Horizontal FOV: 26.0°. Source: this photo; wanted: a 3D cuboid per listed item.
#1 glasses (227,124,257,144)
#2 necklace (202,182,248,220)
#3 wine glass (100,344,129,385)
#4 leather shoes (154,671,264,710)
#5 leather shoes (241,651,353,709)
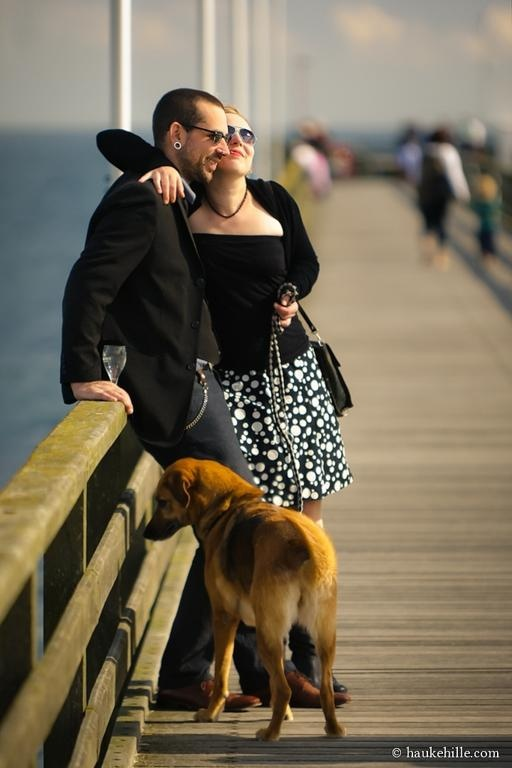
[{"bbox_3d":[-0.036,-0.707,3.135,0.069,0.023,0.067,-18,-16,36],"label":"glasses"},{"bbox_3d":[-0.091,-0.513,3.139,0.083,0.093,0.014,-8,-21,-6],"label":"necklace"},{"bbox_3d":[-0.352,-0.048,2.743,0.055,0.100,0.066,-2,9,-28],"label":"wine glass"},{"bbox_3d":[-0.122,0.826,3.015,0.302,0.122,0.093,-3,-6,4],"label":"leather shoes"},{"bbox_3d":[0.151,0.817,3.053,0.370,0.140,0.111,1,-6,-8],"label":"leather shoes"}]
